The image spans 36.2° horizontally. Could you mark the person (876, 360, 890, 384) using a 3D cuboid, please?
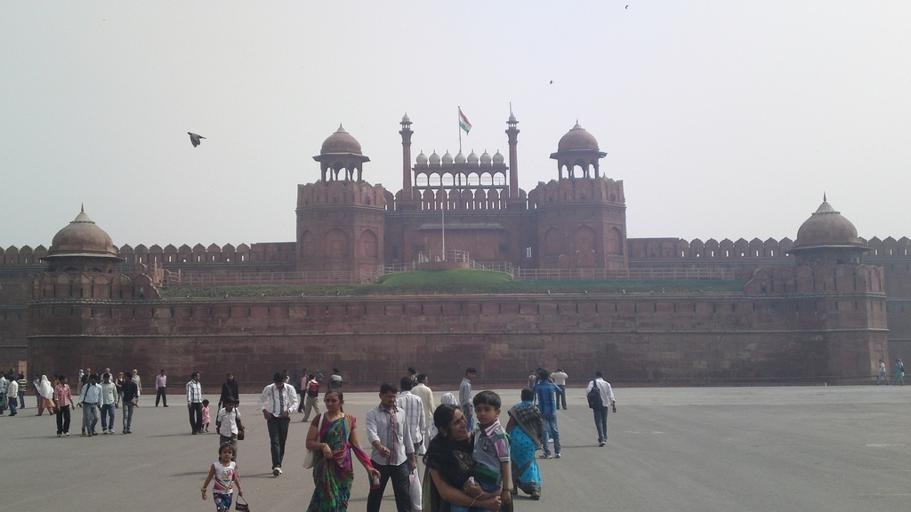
[{"bbox_3d":[22.300,6.109,72.538,0.524,1.226,1.791,3,8,17],"label":"person"}]

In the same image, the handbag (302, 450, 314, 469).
[{"bbox_3d":[-5.093,7.092,48.289,0.310,0.716,0.538,-1,8,-9],"label":"handbag"}]
